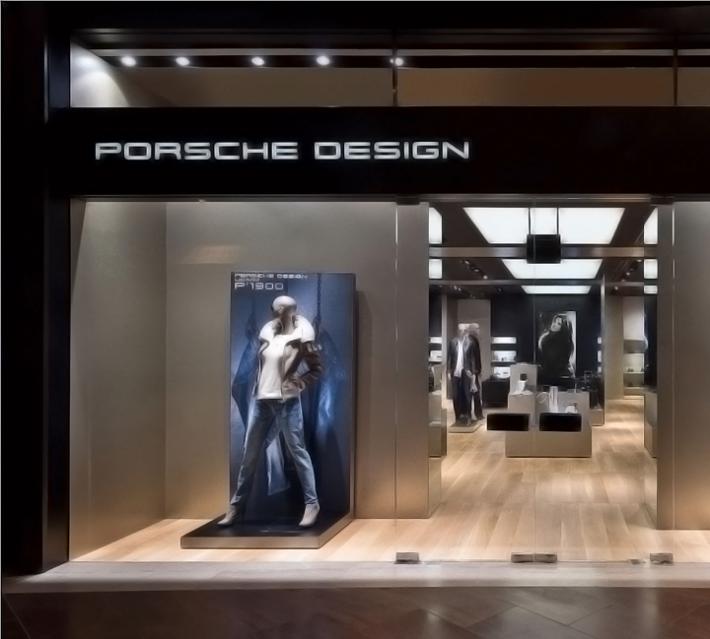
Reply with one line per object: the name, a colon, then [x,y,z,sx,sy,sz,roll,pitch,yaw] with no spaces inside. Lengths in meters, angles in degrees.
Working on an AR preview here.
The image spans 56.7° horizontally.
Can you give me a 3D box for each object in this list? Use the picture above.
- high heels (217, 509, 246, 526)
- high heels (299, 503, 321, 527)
high heels: [-1.009,1.613,5.356,0.228,0.207,0.088,1,-8,-4]
high heels: [-0.389,1.577,5.333,0.133,0.149,0.194,0,6,7]
